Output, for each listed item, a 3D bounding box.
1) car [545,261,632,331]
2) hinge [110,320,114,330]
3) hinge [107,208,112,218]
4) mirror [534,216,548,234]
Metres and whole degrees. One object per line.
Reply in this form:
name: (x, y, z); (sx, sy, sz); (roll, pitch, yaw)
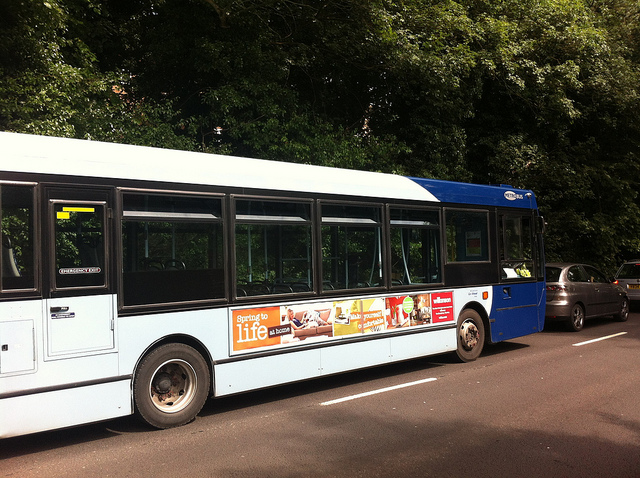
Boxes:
car: (7.397, 1.613, 16.013); (3.167, 1.750, 1.755); (-3, 1, -37)
hinge: (-2.838, 1.164, 7.338); (0.053, 0.127, 0.024); (-3, 5, -27)
hinge: (-2.924, -0.354, 7.487); (0.058, 0.121, 0.014); (-5, 6, -41)
mirror: (5.296, -0.306, 12.880); (0.334, 0.736, 0.397); (-1, -1, 24)
